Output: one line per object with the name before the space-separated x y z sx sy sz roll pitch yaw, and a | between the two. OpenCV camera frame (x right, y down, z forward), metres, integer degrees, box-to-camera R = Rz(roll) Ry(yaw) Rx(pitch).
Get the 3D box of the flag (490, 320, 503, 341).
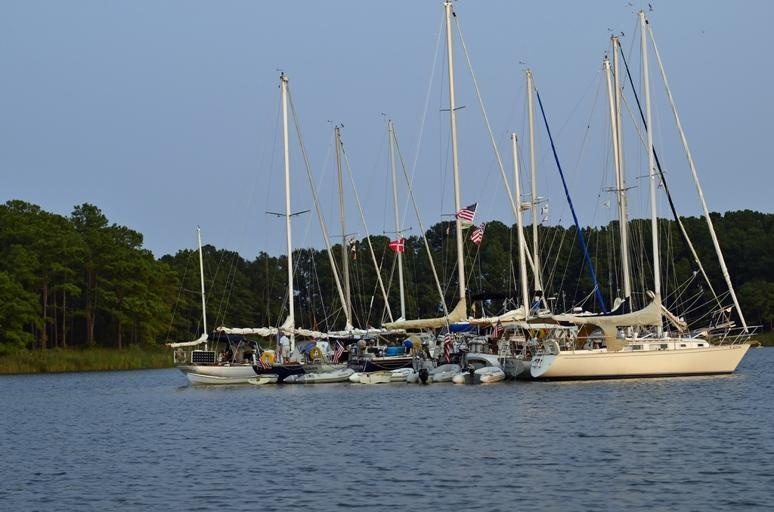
flag | 9.984 6.530 113.338 1.120 1.769 1.127 -4 12 0
